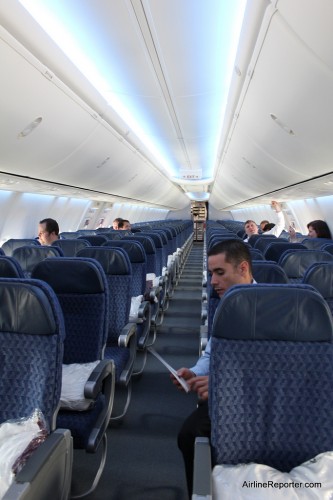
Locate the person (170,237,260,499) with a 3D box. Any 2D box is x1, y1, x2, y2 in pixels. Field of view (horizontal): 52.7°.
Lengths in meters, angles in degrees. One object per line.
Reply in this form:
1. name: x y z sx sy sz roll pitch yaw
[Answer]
1. person: 0.236 0.491 1.615 0.328 1.064 0.884 1 4 15
